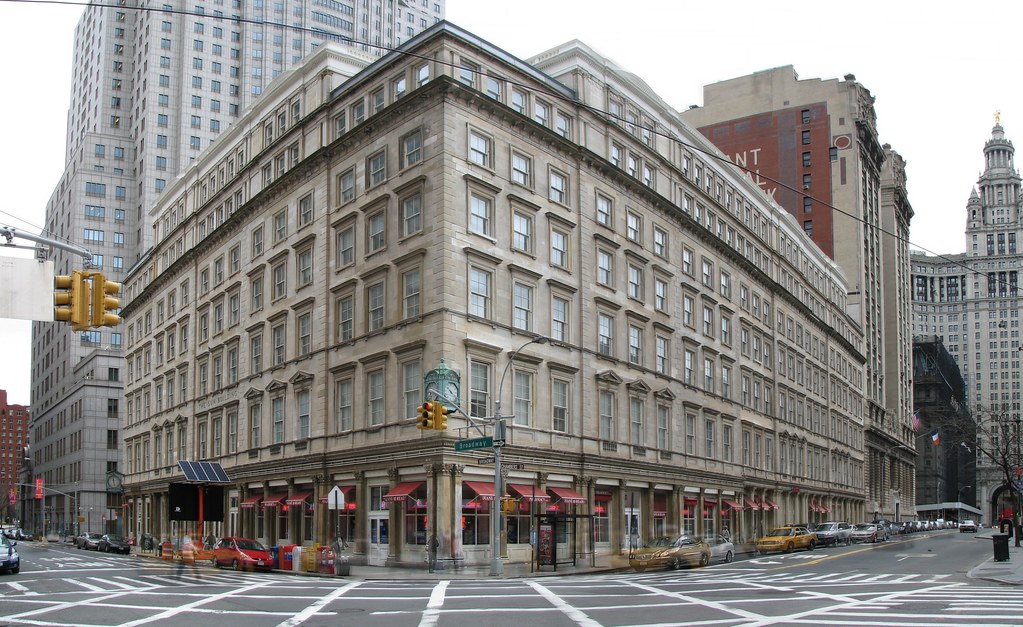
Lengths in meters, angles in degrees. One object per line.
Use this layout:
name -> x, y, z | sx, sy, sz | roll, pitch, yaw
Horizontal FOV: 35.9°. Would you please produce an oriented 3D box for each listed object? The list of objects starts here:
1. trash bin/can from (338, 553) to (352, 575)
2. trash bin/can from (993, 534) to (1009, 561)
trash bin/can -> -17.739, 26.710, 168.290 | 1.279, 1.879, 1.059 | 5, -8, -8
trash bin/can -> 52.884, 25.221, 171.362 | 1.271, 2.931, 1.448 | -1, -9, 31
